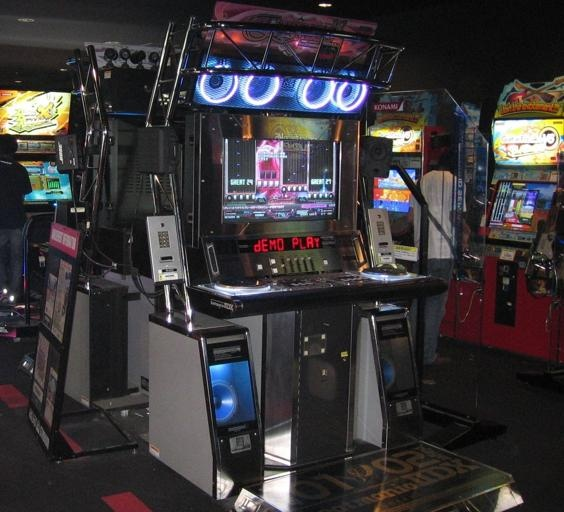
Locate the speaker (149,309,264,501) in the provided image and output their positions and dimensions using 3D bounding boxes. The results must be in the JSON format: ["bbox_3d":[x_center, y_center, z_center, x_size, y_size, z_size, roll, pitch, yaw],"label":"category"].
[{"bbox_3d":[-0.330,0.667,2.318,0.290,0.762,0.849,-3,6,-39],"label":"speaker"}]

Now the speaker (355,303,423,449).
[{"bbox_3d":[0.594,0.644,2.822,0.336,0.742,0.329,8,12,36],"label":"speaker"}]

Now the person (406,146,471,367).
[{"bbox_3d":[1.004,0.102,3.444,0.315,1.578,0.833,3,10,13],"label":"person"}]

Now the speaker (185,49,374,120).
[{"bbox_3d":[0.032,-0.866,2.838,1.161,0.198,0.181,-6,12,-39],"label":"speaker"}]
